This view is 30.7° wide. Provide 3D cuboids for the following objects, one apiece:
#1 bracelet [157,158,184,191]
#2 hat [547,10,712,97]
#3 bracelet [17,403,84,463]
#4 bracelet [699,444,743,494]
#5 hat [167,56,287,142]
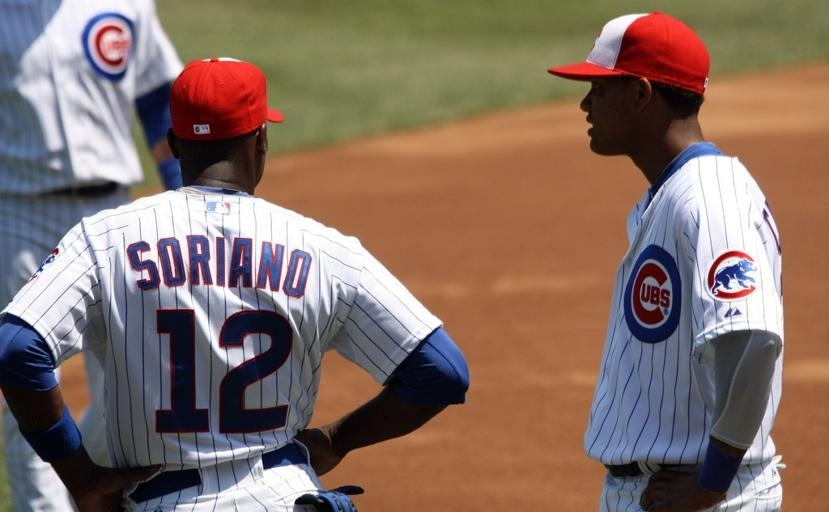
[{"bbox_3d":[-1.197,-0.401,7.457,0.187,0.182,0.046,3,10,39],"label":"bracelet"},{"bbox_3d":[0.936,-0.868,6.536,0.692,0.383,0.469,5,1,5],"label":"hat"},{"bbox_3d":[-1.498,0.726,6.182,0.235,0.197,0.262,-17,0,0],"label":"bracelet"},{"bbox_3d":[1.226,0.838,6.116,0.193,0.263,0.165,-2,-22,13],"label":"bracelet"},{"bbox_3d":[-0.779,-0.690,6.331,0.394,0.308,0.571,8,22,26],"label":"hat"}]
